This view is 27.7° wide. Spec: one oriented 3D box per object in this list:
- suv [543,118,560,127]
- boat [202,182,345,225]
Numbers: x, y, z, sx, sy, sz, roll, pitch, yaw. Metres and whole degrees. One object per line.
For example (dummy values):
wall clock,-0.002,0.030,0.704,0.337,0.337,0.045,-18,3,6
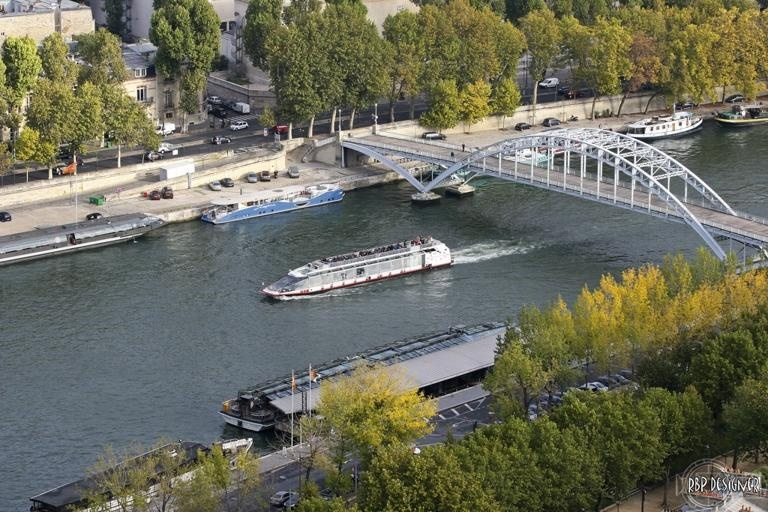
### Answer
suv,23.222,-18.497,215.973,2.074,0.844,1.171,-10,26,-16
boat,-12.955,-6.155,182.266,16.404,2.644,1.727,-11,14,-30
